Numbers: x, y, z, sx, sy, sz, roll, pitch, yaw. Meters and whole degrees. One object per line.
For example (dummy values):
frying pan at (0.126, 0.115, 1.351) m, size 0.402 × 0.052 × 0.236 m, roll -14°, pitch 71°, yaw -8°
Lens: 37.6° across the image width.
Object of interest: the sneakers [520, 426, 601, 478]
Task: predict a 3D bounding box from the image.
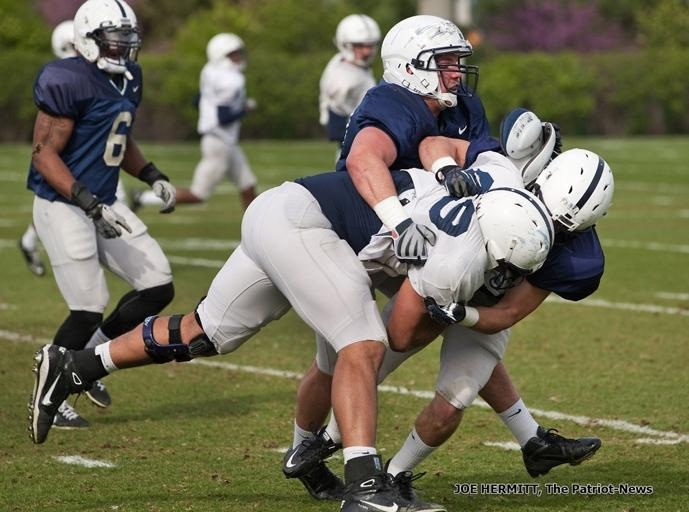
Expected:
sneakers at (0.992, 0.922, 4.806) m, size 0.413 × 0.231 × 0.170 m, roll -18°, pitch 25°, yaw 20°

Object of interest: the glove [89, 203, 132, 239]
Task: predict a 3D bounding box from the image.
glove at (-1.240, -0.157, 5.281) m, size 0.076 × 0.216 × 0.148 m, roll -34°, pitch 22°, yaw 56°

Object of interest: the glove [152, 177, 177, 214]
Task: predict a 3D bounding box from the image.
glove at (-1.042, -0.354, 5.759) m, size 0.127 × 0.215 × 0.094 m, roll -22°, pitch -10°, yaw -31°

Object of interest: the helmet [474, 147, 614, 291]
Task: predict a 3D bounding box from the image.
helmet at (1.001, -0.156, 4.655) m, size 0.645 × 0.515 × 0.479 m, roll -39°, pitch 10°, yaw -3°

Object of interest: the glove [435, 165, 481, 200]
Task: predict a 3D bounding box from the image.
glove at (0.511, -0.332, 4.561) m, size 0.121 × 0.082 × 0.187 m, roll -14°, pitch 17°, yaw -7°

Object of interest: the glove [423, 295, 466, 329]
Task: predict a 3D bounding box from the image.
glove at (0.424, 0.231, 4.242) m, size 0.137 × 0.103 × 0.060 m, roll -3°, pitch -33°, yaw -18°

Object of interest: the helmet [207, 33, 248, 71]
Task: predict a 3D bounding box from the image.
helmet at (-1.319, -2.226, 11.106) m, size 0.457 × 0.479 × 0.358 m, roll -12°, pitch 9°, yaw -8°

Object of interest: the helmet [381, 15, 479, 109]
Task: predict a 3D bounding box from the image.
helmet at (0.425, -0.985, 5.070) m, size 0.508 × 0.437 × 0.401 m, roll 4°, pitch 12°, yaw 20°

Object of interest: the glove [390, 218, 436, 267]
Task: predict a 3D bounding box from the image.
glove at (0.303, -0.059, 4.339) m, size 0.177 × 0.187 × 0.123 m, roll 1°, pitch 14°, yaw 4°
